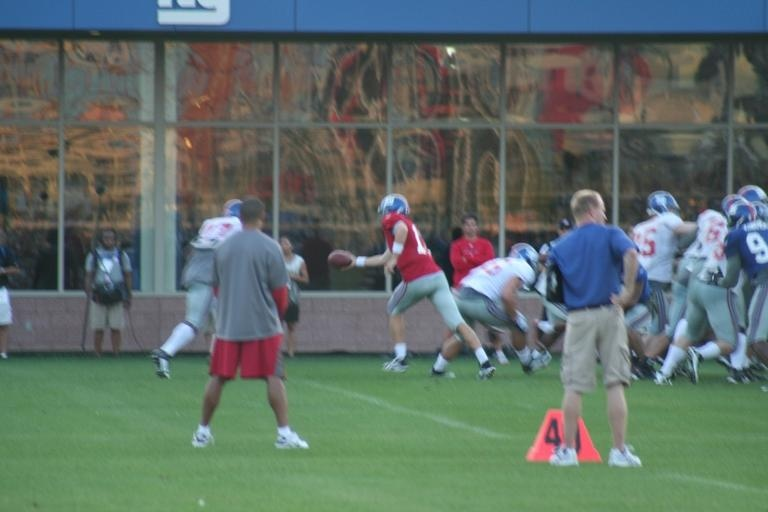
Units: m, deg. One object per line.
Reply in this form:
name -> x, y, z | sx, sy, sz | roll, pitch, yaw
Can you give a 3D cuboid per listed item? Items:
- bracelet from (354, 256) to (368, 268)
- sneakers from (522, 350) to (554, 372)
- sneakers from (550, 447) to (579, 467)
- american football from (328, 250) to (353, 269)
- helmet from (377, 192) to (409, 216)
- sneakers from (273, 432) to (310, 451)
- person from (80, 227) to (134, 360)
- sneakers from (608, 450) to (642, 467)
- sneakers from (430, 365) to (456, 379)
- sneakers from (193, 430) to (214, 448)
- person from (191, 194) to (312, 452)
bracelet -> -0.396, 0.130, 21.232 | 0.171, 0.177, 0.188 | -3, 12, 18
sneakers -> 2.409, 1.715, 21.492 | 0.441, 0.300, 0.276 | -24, 28, 15
sneakers -> 2.268, 2.541, 17.084 | 0.316, 0.212, 0.202 | 1, -1, 5
american football -> -0.644, 0.056, 21.096 | 0.252, 0.231, 0.334 | -16, -14, 41
helmet -> 0.132, -0.800, 21.560 | 0.436, 0.412, 0.333 | -19, -15, 33
sneakers -> -1.230, 2.428, 17.690 | 0.368, 0.211, 0.211 | 1, 2, -4
person -> -4.927, 0.691, 23.920 | 0.845, 2.221, 1.246 | -3, 11, -14
sneakers -> 3.049, 2.566, 17.145 | 0.375, 0.198, 0.201 | 1, 6, -5
sneakers -> 0.927, 1.879, 21.710 | 0.432, 0.200, 0.151 | -4, 13, 15
sneakers -> -2.352, 2.394, 17.687 | 0.287, 0.209, 0.172 | -8, 12, -43
person -> -1.761, 0.962, 17.584 | 1.226, 3.070, 0.583 | -1, 11, -7
